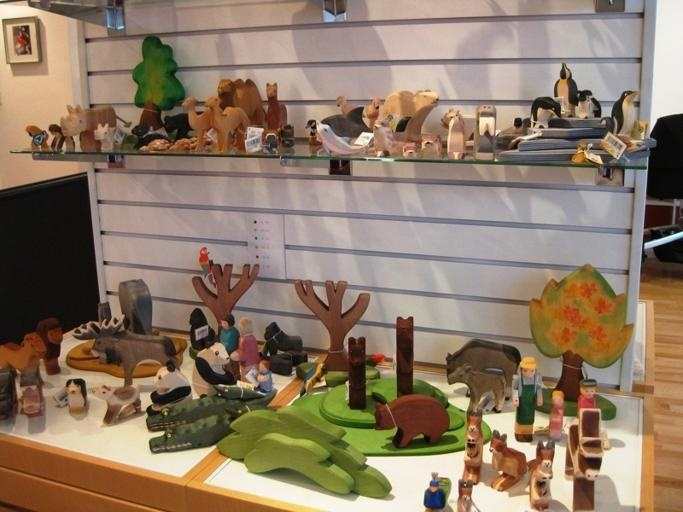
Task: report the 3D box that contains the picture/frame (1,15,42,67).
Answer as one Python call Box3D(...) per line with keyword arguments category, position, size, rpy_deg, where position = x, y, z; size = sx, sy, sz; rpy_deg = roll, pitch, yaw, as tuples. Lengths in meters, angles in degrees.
Box3D(category="picture/frame", position=(-2.066, -1.405, 3.698), size=(0.279, 0.344, 0.033), rpy_deg=(4, 14, 15))
